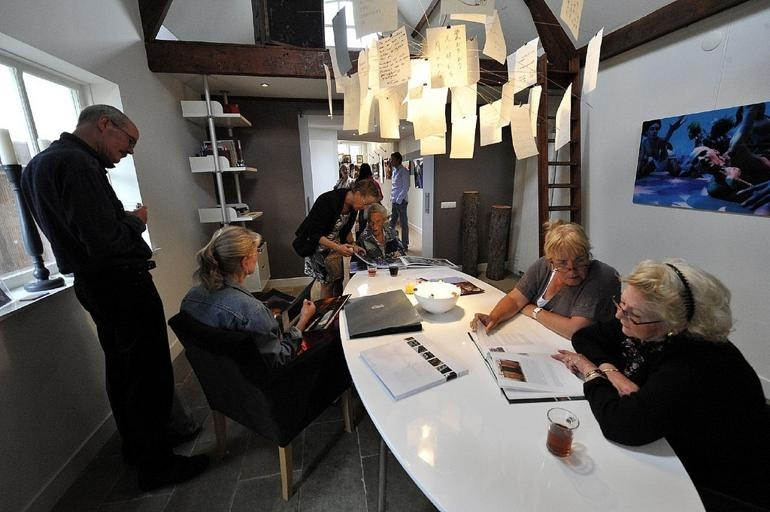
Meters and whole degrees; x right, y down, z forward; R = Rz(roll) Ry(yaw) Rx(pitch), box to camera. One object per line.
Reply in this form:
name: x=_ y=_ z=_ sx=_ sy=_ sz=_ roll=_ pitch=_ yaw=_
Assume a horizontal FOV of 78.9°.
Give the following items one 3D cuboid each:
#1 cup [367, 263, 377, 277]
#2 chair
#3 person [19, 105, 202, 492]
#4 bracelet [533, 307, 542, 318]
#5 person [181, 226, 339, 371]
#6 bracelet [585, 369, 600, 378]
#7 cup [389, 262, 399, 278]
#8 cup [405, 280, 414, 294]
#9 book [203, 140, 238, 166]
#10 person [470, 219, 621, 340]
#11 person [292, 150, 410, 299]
cup: x=-0.104 y=0.130 z=3.801 sx=0.071 sy=0.066 sz=0.077 roll=-1 pitch=-2 yaw=0
chair: x=-0.784 y=0.886 z=3.265 sx=0.980 sy=1.173 sz=1.022 roll=3 pitch=18 yaw=15
person: x=-1.705 y=0.433 z=3.069 sx=0.860 sy=2.207 sz=0.487 roll=8 pitch=16 yaw=34
bracelet: x=0.996 y=0.380 z=3.106 sx=0.043 sy=0.068 sz=0.067 roll=16 pitch=36 yaw=36
person: x=-0.833 y=0.278 z=2.921 sx=0.807 sy=0.885 sz=0.447 roll=-7 pitch=14 yaw=-24
bracelet: x=1.135 y=0.650 z=2.561 sx=0.048 sy=0.035 sz=0.048 roll=-6 pitch=0 yaw=9
cup: x=0.071 y=0.125 z=3.762 sx=0.080 sy=0.093 sz=0.082 roll=0 pitch=24 yaw=0
cup: x=0.182 y=0.241 z=3.445 sx=0.067 sy=0.053 sz=0.071 roll=1 pitch=4 yaw=0
book: x=-1.676 y=-1.061 z=4.813 sx=0.291 sy=0.117 sz=0.286 roll=0 pitch=26 yaw=-4
person: x=1.062 y=0.158 z=3.123 sx=1.073 sy=0.693 sz=0.718 roll=-2 pitch=16 yaw=-5
person: x=-0.099 y=-0.538 z=4.669 sx=1.222 sy=2.023 sz=0.829 roll=-1 pitch=37 yaw=7
